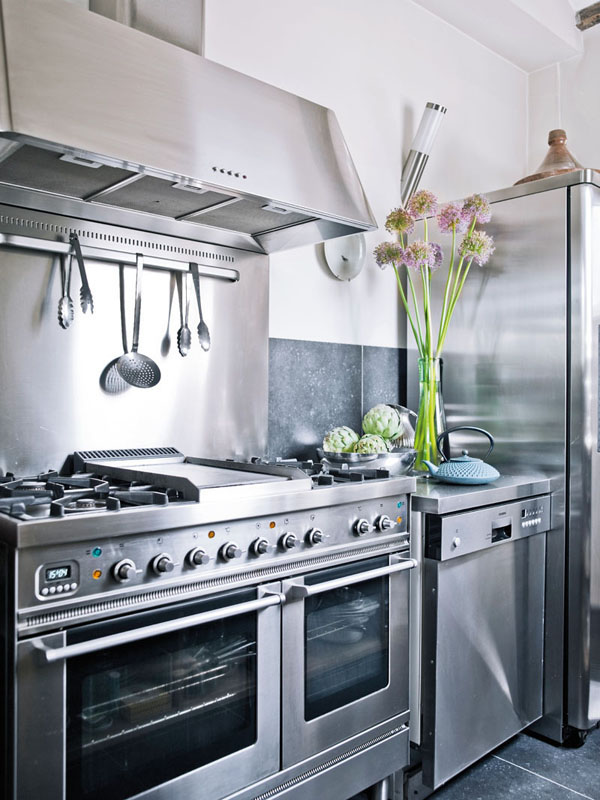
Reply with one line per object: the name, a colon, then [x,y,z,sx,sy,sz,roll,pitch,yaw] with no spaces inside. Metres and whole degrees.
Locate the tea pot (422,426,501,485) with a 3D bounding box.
tea pot: [0.478,0.185,1.974,0.219,0.162,0.171,0,-6,7]

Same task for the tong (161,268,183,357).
tong: [-0.354,-0.235,1.844,0.037,0.248,0.035,7,-3,-37]

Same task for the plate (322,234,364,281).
plate: [0.141,-0.483,2.306,0.157,0.156,0.037,-19,16,-41]
